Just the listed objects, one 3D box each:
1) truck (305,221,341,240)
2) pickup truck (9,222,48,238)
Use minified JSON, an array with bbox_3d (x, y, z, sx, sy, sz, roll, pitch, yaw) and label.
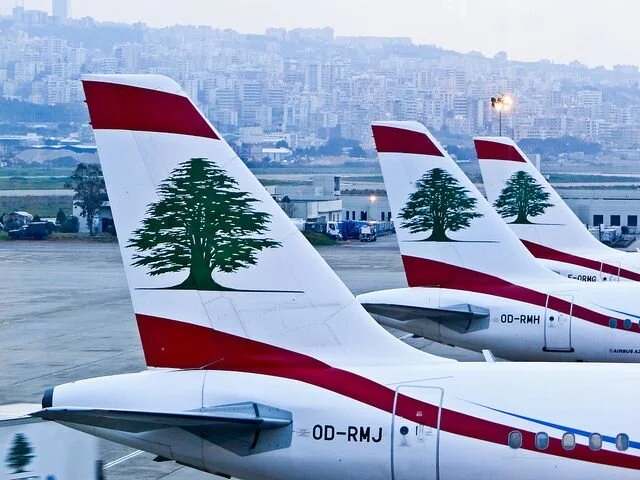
[{"bbox_3d":[0.423,-0.885,112.298,3.544,1.279,1.299,0,9,13],"label":"truck"},{"bbox_3d":[-24.106,-0.780,111.128,2.724,0.971,1.352,2,5,2],"label":"pickup truck"}]
